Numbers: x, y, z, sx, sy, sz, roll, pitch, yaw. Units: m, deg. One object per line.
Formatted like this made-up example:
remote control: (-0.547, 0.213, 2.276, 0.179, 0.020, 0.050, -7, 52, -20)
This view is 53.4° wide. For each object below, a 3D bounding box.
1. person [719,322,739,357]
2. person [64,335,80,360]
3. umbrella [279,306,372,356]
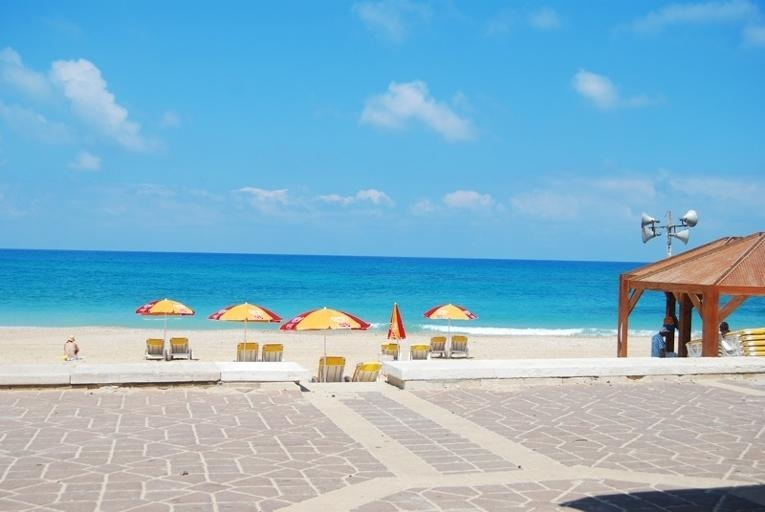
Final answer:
person: (7.494, 1.787, 16.514, 0.346, 0.664, 1.677, 0, -3, 23)
person: (-10.709, 3.197, 26.056, 0.464, 0.787, 1.437, 3, -3, -23)
umbrella: (-1.348, 1.646, 17.979, 1.783, 0.871, 1.551, 0, -4, -5)
